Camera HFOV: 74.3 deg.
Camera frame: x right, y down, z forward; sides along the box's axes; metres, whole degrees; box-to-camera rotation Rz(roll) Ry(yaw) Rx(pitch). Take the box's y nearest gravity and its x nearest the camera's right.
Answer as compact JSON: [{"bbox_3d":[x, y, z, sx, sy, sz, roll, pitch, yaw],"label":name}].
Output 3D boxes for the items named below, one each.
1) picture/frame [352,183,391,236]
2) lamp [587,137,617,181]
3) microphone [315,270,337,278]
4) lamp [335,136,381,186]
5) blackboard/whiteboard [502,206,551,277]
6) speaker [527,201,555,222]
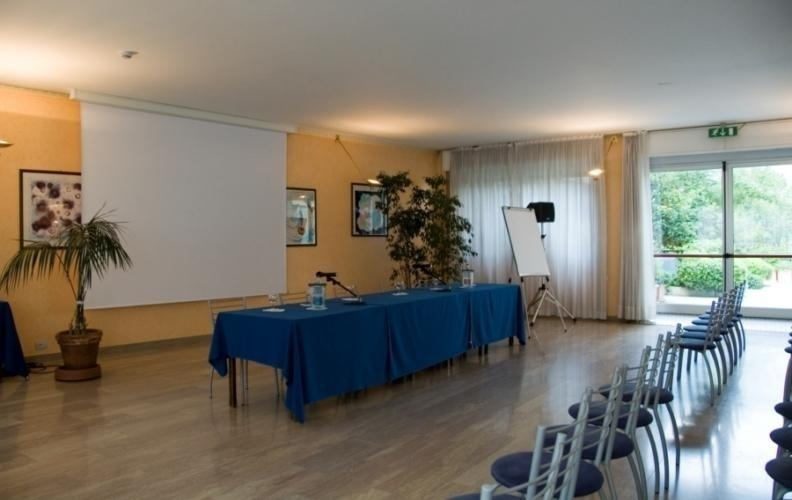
[{"bbox_3d":[-0.593,-0.857,10.791,1.020,1.269,0.083,3,-7,-40],"label":"picture/frame"},{"bbox_3d":[4.123,-1.866,10.612,0.550,0.874,0.217,-6,13,-24],"label":"lamp"},{"bbox_3d":[-1.099,0.366,7.891,0.225,0.084,0.172,1,1,19],"label":"microphone"},{"bbox_3d":[-0.814,-1.783,10.587,0.920,1.018,0.257,-7,13,-30],"label":"lamp"},{"bbox_3d":[2.435,-0.177,9.895,0.108,1.517,1.338,-17,-5,40],"label":"blackboard/whiteboard"},{"bbox_3d":[2.900,-0.777,10.716,0.620,0.534,0.391,0,1,13],"label":"speaker"}]
